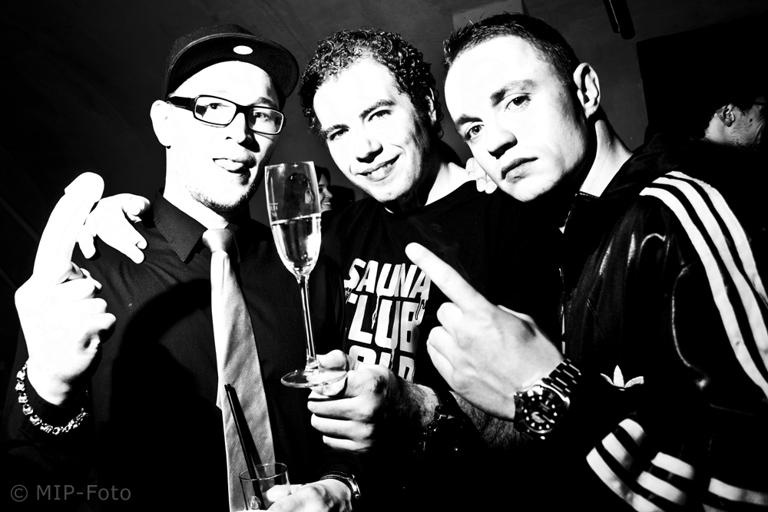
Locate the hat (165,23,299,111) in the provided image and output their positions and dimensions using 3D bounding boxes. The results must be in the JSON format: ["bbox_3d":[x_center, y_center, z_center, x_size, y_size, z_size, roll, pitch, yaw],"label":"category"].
[{"bbox_3d":[-0.577,-0.748,2.935,0.451,0.245,0.678,-9,40,-3],"label":"hat"}]

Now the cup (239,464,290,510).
[{"bbox_3d":[-0.387,0.754,2.594,0.135,0.165,0.160,-17,-13,-9],"label":"cup"}]

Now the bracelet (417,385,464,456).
[{"bbox_3d":[0.228,0.609,2.881,0.155,0.242,0.060,-3,-3,16],"label":"bracelet"}]

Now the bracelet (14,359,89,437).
[{"bbox_3d":[-1.303,0.517,2.956,0.214,0.304,0.060,3,13,12],"label":"bracelet"}]

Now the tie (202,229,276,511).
[{"bbox_3d":[-0.573,0.379,2.964,0.225,1.119,0.072,-6,-5,-13],"label":"tie"}]
